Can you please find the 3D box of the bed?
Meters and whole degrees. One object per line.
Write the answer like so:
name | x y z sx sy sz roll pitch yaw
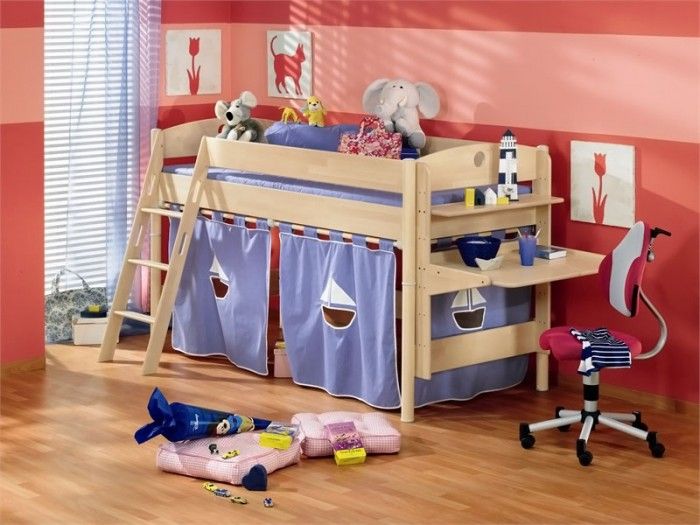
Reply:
bed | -0.274 -0.065 4.683 2.397 1.605 1.456 10 12 39

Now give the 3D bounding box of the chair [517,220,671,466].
chair | 1.282 0.382 3.679 0.684 1.173 0.676 -1 5 -8

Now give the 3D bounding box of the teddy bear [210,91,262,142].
teddy bear | -0.810 -0.997 5.018 0.305 0.397 0.282 -4 -7 12

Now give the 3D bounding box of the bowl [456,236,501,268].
bowl | 0.689 -0.056 3.797 0.202 0.150 0.232 -3 12 -13

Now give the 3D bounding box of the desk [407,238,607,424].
desk | 0.958 0.357 3.970 1.161 0.993 0.685 -11 18 -36

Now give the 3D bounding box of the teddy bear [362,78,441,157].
teddy bear | 0.321 -0.989 4.736 0.519 0.492 0.393 10 19 24
